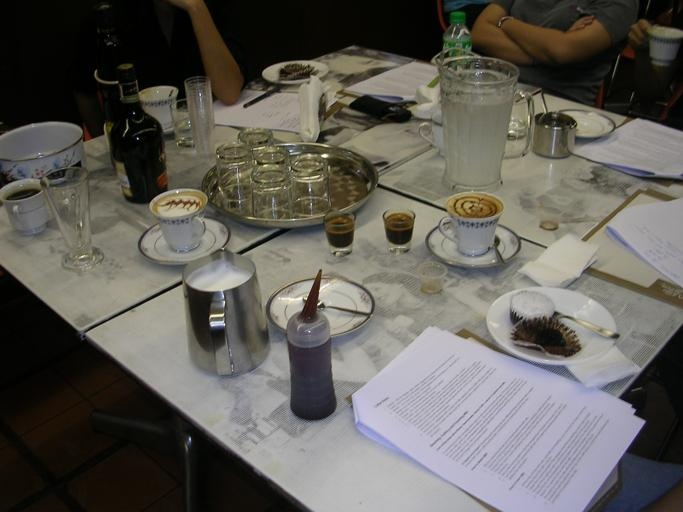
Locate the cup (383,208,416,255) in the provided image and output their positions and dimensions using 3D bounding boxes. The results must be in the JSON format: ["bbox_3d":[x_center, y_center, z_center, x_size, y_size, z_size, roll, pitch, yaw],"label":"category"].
[{"bbox_3d":[0.138,-0.062,1.236,0.092,0.105,0.097,-1,22,0],"label":"cup"}]

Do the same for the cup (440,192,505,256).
[{"bbox_3d":[0.333,-0.083,1.228,0.165,0.117,0.124,-33,47,-30],"label":"cup"}]

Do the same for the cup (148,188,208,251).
[{"bbox_3d":[-0.404,-0.088,1.267,0.123,0.115,0.160,-26,44,-30],"label":"cup"}]

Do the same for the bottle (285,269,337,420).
[{"bbox_3d":[-0.063,0.127,0.828,0.085,0.269,0.164,-7,39,-1],"label":"bottle"}]

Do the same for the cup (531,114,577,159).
[{"bbox_3d":[0.661,-0.384,1.583,0.138,0.150,0.141,-2,33,2],"label":"cup"}]

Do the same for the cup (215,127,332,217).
[{"bbox_3d":[-0.188,-0.225,1.360,0.297,0.109,0.096,24,39,33],"label":"cup"}]

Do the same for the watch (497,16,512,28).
[{"bbox_3d":[0.816,-1.177,2.475,0.066,0.020,0.067,-34,-2,20],"label":"watch"}]

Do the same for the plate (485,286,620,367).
[{"bbox_3d":[0.410,0.131,0.964,0.232,0.061,0.207,20,46,28],"label":"plate"}]

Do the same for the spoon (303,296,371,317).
[{"bbox_3d":[-0.008,0.100,0.967,0.122,0.021,0.022,15,29,13],"label":"spoon"}]

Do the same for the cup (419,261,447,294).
[{"bbox_3d":[0.208,0.046,1.120,0.060,0.046,0.063,-2,38,1],"label":"cup"}]

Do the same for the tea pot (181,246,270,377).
[{"bbox_3d":[-0.186,0.089,0.983,0.164,0.210,0.221,-5,36,-6],"label":"tea pot"}]
